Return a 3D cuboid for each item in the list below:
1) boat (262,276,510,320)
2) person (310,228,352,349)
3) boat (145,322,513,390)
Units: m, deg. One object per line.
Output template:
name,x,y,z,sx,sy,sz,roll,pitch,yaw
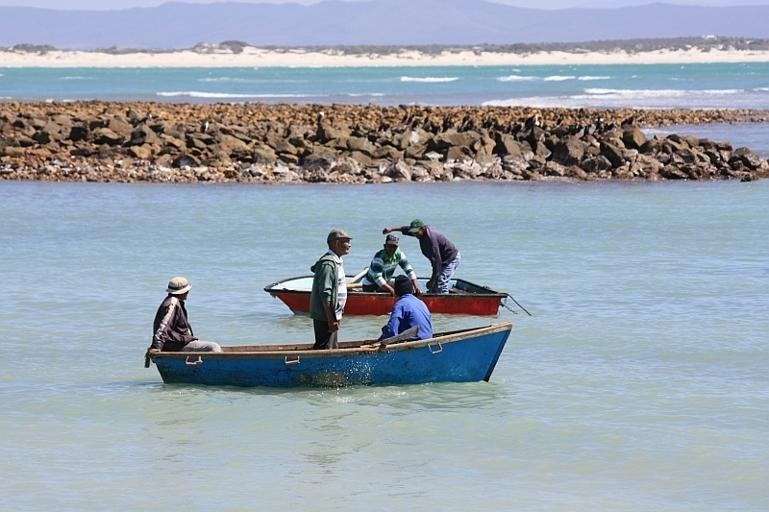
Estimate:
boat,0.086,1.766,54.644,7.563,0.895,2.337,2,3,1
person,-1.654,1.001,50.221,0.998,3.614,0.765,2,16,-7
boat,-1.337,2.878,50.566,9.608,2.012,6.369,1,-12,-25
